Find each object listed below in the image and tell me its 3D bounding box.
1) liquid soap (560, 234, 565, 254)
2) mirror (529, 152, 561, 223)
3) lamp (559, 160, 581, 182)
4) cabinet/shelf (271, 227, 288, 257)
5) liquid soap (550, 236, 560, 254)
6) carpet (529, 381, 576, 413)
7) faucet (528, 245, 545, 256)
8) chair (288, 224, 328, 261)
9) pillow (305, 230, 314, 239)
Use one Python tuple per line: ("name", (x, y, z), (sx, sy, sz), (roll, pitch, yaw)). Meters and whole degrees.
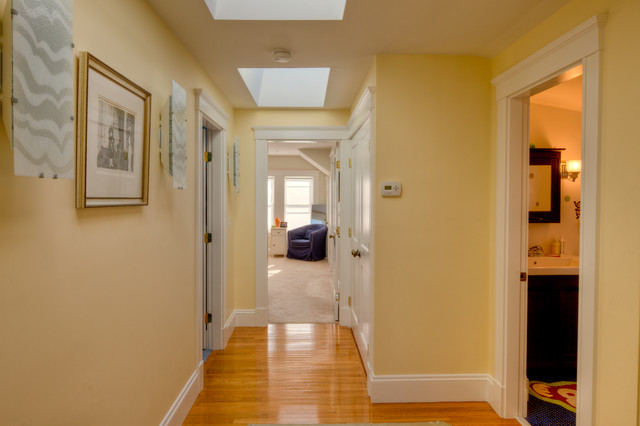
("liquid soap", (2.423, 0.315, 4.572), (0.077, 0.183, 0.047), (-2, 7, -37))
("mirror", (2.235, -0.275, 4.547), (0.334, 0.749, 0.082), (2, 6, -3))
("lamp", (2.486, -0.416, 4.628), (0.226, 0.260, 0.164), (0, 1, -1))
("cabinet/shelf", (-0.890, 0.628, 9.828), (0.311, 0.590, 0.297), (-1, -1, 2))
("liquid soap", (2.342, 0.329, 4.553), (0.089, 0.163, 0.077), (4, 6, 16))
("carpet", (1.946, 1.503, 3.850), (0.353, 0.067, 0.463), (6, 7, 27))
("faucet", (2.144, 0.376, 4.554), (0.191, 0.147, 0.067), (2, -2, -2))
("chair", (-0.258, 0.585, 9.582), (0.762, 0.763, 0.677), (1, 0, 41))
("pillow", (-0.230, 0.440, 9.510), (0.147, 0.199, 0.077), (-4, -33, 31))
